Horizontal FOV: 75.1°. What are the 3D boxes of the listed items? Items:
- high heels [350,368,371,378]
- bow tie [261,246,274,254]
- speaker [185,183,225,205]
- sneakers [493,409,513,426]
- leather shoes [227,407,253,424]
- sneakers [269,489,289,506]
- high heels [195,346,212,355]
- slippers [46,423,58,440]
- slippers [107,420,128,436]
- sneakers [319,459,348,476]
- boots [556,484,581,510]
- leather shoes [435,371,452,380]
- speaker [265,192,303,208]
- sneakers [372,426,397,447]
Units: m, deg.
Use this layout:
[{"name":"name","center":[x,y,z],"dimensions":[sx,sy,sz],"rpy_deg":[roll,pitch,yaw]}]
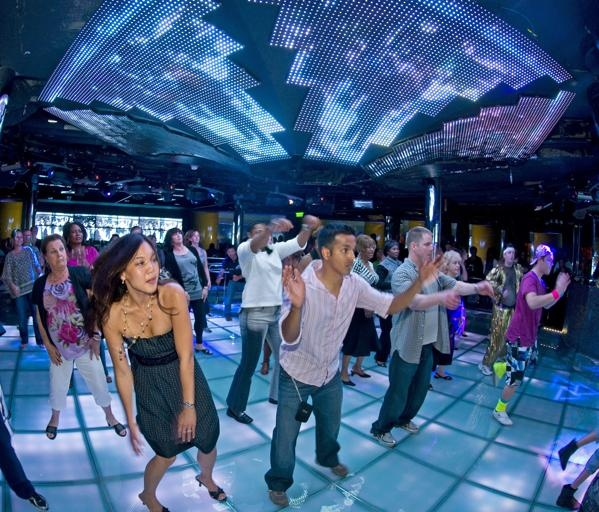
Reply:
[{"name":"high heels","center":[0.789,1.514,5.017],"dimensions":[0.266,0.123,0.095],"rpy_deg":[-1,-4,13]},{"name":"bow tie","center":[-0.309,-0.063,4.104],"dimensions":[0.022,0.079,0.076],"rpy_deg":[-19,-23,34]},{"name":"speaker","center":[-3.466,-2.437,15.086],"dimensions":[0.978,0.448,1.032],"rpy_deg":[13,2,7]},{"name":"sneakers","center":[2.027,1.650,3.946],"dimensions":[0.089,0.068,0.162],"rpy_deg":[-2,-4,-13]},{"name":"leather shoes","center":[-0.536,1.555,3.777],"dimensions":[0.268,0.116,0.095],"rpy_deg":[19,7,23]},{"name":"sneakers","center":[-0.122,1.695,2.706],"dimensions":[0.074,0.054,0.129],"rpy_deg":[7,-6,-33]},{"name":"high heels","center":[-1.329,1.376,5.638],"dimensions":[0.257,0.076,0.100],"rpy_deg":[8,-2,31]},{"name":"slippers","center":[-2.039,1.509,3.317],"dimensions":[0.066,0.117,0.037],"rpy_deg":[6,-38,-39]},{"name":"slippers","center":[-1.546,1.557,3.449],"dimensions":[0.196,0.050,0.073],"rpy_deg":[35,12,35]},{"name":"sneakers","center":[0.269,1.676,3.084],"dimensions":[0.203,0.091,0.096],"rpy_deg":[7,0,23]},{"name":"boots","center":[1.919,1.753,2.845],"dimensions":[0.212,0.181,0.096],"rpy_deg":[7,-2,-18]},{"name":"leather shoes","center":[1.810,1.554,5.045],"dimensions":[0.225,0.095,0.084],"rpy_deg":[1,-4,5]},{"name":"speaker","center":[-0.483,-2.079,14.294],"dimensions":[1.279,0.450,0.894],"rpy_deg":[2,5,-5]},{"name":"sneakers","center":[0.751,1.647,3.496],"dimensions":[0.087,0.100,0.221],"rpy_deg":[5,-13,-20]}]
